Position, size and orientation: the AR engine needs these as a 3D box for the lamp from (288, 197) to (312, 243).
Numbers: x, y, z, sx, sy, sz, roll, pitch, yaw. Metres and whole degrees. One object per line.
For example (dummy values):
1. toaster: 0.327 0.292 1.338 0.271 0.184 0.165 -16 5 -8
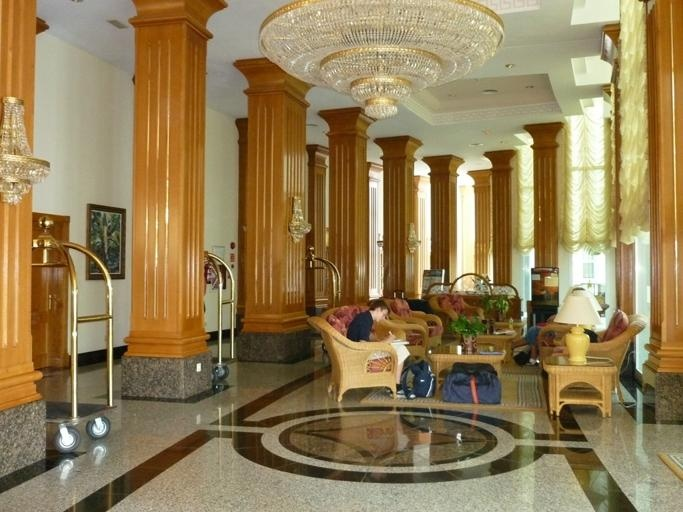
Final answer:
1. lamp: -0.746 -0.670 9.943 0.304 0.854 0.519 0 0 14

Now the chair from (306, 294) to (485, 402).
1. chair: 0.290 1.167 7.270 1.359 1.106 1.175 -1 0 -10

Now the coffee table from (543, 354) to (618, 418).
1. coffee table: 2.753 1.437 6.414 0.672 0.451 0.779 0 2 16

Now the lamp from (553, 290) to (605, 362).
1. lamp: 3.015 0.854 6.950 0.481 0.838 1.909 0 1 25

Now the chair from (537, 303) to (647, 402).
1. chair: 3.252 1.252 7.485 1.458 1.228 1.199 0 -3 19

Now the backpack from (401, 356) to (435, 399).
1. backpack: 1.032 1.626 7.249 0.464 0.454 0.367 -3 1 -15

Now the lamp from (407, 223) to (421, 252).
1. lamp: 2.022 -0.495 15.412 0.253 0.843 1.057 0 0 10

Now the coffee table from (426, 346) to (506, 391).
1. coffee table: 1.654 1.357 7.269 0.677 0.414 0.883 -1 0 25

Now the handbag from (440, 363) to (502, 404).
1. handbag: 1.683 1.613 7.063 0.699 0.364 0.878 0 1 13
